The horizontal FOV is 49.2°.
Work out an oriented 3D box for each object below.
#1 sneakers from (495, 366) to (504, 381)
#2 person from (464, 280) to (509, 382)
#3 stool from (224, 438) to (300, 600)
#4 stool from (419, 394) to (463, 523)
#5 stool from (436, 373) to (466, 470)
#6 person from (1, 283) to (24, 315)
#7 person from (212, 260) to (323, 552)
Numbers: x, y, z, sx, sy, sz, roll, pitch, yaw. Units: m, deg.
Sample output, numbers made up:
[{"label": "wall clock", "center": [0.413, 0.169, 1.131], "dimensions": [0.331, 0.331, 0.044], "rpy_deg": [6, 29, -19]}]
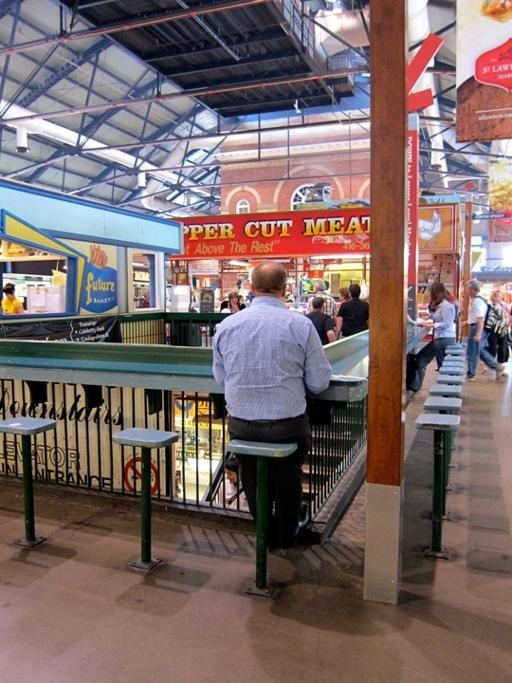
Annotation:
[{"label": "sneakers", "center": [4.031, 0.476, 9.226], "dimensions": [0.157, 0.200, 0.511], "rpy_deg": [-1, 13, 21]}, {"label": "person", "center": [3.636, -0.176, 8.891], "dimensions": [0.543, 1.565, 1.366], "rpy_deg": [1, 2, 23]}, {"label": "stool", "center": [-0.003, 0.609, 2.228], "dimensions": [0.201, 0.366, 0.168], "rpy_deg": [7, -15, 9]}, {"label": "stool", "center": [1.232, 0.800, 3.720], "dimensions": [0.239, 0.579, 0.693], "rpy_deg": [2, 8, 17]}, {"label": "stool", "center": [1.395, 0.580, 4.007], "dimensions": [0.214, 0.261, 0.741], "rpy_deg": [3, 8, 23]}, {"label": "person", "center": [-3.639, -0.656, 8.386], "dimensions": [0.273, 0.499, 1.600], "rpy_deg": [0, 2, -23]}, {"label": "person", "center": [0.052, 0.321, 2.436], "dimensions": [0.499, 1.344, 0.450], "rpy_deg": [0, 2, -19]}]
